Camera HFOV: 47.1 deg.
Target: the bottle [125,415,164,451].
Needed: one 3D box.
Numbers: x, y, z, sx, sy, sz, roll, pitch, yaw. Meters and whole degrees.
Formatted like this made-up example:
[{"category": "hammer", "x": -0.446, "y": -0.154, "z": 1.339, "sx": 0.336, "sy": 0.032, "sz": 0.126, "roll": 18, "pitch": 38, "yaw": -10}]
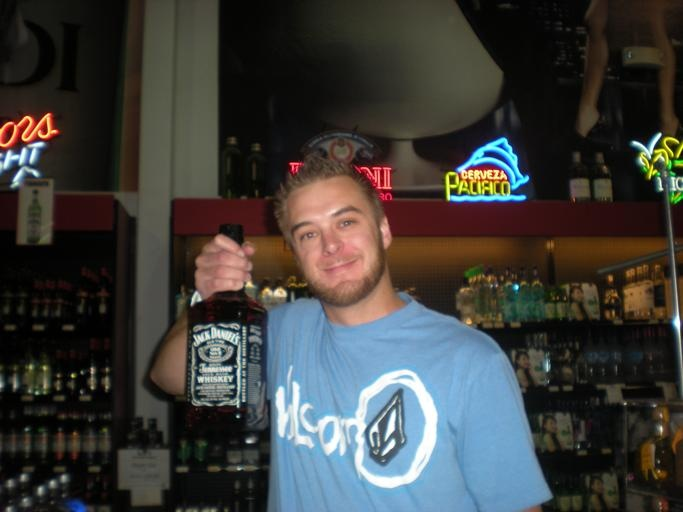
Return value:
[{"category": "bottle", "x": -1.691, "y": 1.529, "z": 6.705, "sx": 0.241, "sy": 0.254, "sz": 0.265, "roll": 1, "pitch": -11, "yaw": -1}]
